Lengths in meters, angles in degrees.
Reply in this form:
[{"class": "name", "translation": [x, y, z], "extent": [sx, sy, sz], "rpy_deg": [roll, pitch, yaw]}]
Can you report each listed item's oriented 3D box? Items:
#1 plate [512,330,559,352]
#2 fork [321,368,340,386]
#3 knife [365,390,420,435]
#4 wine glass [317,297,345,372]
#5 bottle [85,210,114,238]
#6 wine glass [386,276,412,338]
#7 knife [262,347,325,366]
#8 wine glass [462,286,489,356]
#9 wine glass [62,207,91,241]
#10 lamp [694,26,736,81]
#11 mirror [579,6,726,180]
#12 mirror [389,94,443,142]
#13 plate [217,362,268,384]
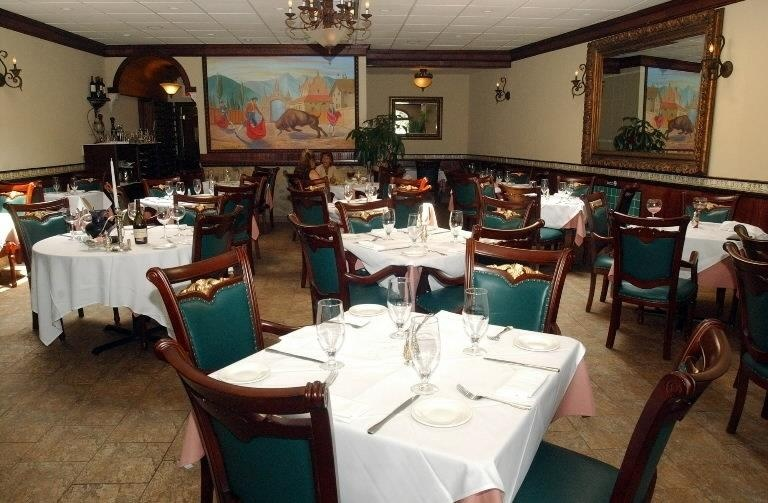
[{"class": "plate", "translation": [0.797, 0.466, 2.574], "extent": [0.230, 0.026, 0.177], "rpy_deg": [1, 16, 11]}, {"class": "fork", "translation": [-0.238, 0.556, 2.209], "extent": [0.053, 0.053, 0.190], "rpy_deg": [9, 10, 4]}, {"class": "knife", "translation": [0.066, 0.647, 2.103], "extent": [0.069, 0.026, 0.535], "rpy_deg": [8, 13, 27]}, {"class": "wine glass", "translation": [-0.254, 0.374, 2.332], "extent": [0.132, 0.337, 0.202], "rpy_deg": [-4, 15, -7]}, {"class": "bottle", "translation": [-2.454, -0.227, 4.232], "extent": [0.222, 0.225, 0.118], "rpy_deg": [-6, 13, -37]}, {"class": "wine glass", "translation": [0.081, 0.270, 2.584], "extent": [0.114, 0.342, 0.227], "rpy_deg": [-1, 15, 3]}, {"class": "knife", "translation": [-0.444, 0.512, 2.417], "extent": [0.289, 0.032, 0.042], "rpy_deg": [12, 11, 17]}, {"class": "wine glass", "translation": [0.462, 0.327, 2.483], "extent": [0.116, 0.329, 0.194], "rpy_deg": [1, 16, 11]}, {"class": "wine glass", "translation": [-2.882, -0.244, 4.603], "extent": [0.244, 0.287, 0.251], "rpy_deg": [18, 16, 11]}, {"class": "lamp", "translation": [4.430, -2.553, 6.513], "extent": [0.331, 0.552, 0.314], "rpy_deg": [5, 17, 24]}, {"class": "mirror", "translation": [4.145, -2.431, 7.494], "extent": [0.122, 2.193, 2.609], "rpy_deg": [-3, 9, -18]}, {"class": "mirror", "translation": [0.877, -3.663, 13.567], "extent": [1.446, 1.109, 0.291], "rpy_deg": [-2, 15, 1]}, {"class": "plate", "translation": [-0.648, 0.560, 2.272], "extent": [0.229, 0.029, 0.156], "rpy_deg": [-9, 17, -23]}]
